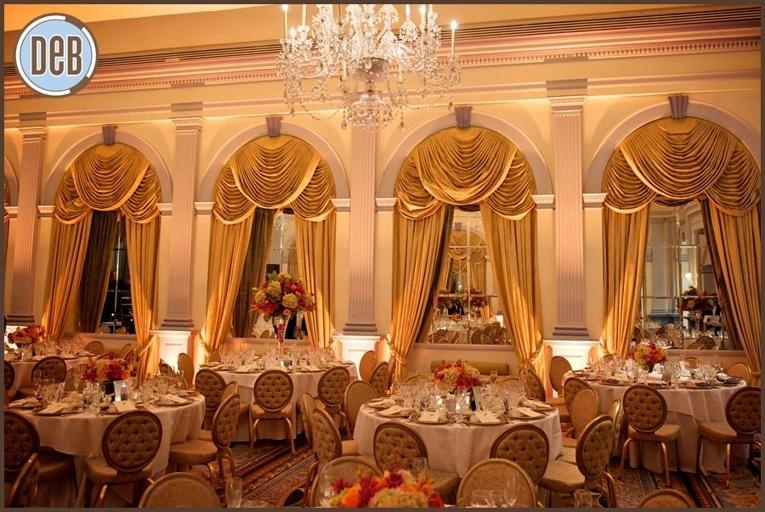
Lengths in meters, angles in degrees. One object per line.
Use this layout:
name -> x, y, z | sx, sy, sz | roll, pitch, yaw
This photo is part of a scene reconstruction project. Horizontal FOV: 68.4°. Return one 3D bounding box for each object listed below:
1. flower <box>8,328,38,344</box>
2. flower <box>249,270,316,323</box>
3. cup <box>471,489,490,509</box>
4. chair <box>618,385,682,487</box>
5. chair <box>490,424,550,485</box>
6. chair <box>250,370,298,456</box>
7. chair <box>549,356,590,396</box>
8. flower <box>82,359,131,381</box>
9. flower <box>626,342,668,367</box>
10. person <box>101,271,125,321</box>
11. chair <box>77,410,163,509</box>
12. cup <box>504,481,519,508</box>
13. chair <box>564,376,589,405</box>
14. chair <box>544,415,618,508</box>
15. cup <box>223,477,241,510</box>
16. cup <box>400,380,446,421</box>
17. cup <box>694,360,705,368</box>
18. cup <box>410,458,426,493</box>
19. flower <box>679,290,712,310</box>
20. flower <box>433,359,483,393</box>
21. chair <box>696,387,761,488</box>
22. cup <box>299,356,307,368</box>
flower -> -7.152, 1.609, 11.196 | 0.357, 0.210, 0.372 | 6, -7, -7
flower -> -1.807, 0.777, 10.342 | 0.859, 0.813, 0.895 | 0, -2, -6
cup -> 0.871, 2.115, 4.960 | 0.130, 0.138, 0.135 | -2, -12, 0
chair -> 3.867, 2.523, 8.187 | 0.744, 1.328, 0.830 | 0, -4, 32
chair -> 1.627, 2.276, 6.808 | 0.592, 0.882, 0.669 | 5, -1, -6
chair -> -1.774, 2.447, 9.048 | 0.746, 1.259, 0.573 | 3, -3, -14
chair -> 3.433, 2.134, 10.119 | 0.526, 0.992, 0.604 | -1, -9, -1
flower -> -3.739, 1.555, 7.629 | 0.358, 0.245, 0.369 | 5, -13, -22
flower -> 4.299, 1.617, 9.158 | 0.512, 0.372, 0.357 | 3, -4, -11
person -> -6.481, 1.025, 13.614 | 0.519, 1.194, 0.250 | 1, -3, 18
chair -> -3.210, 2.466, 6.895 | 0.893, 1.213, 0.490 | 4, -3, -24
cup -> 1.185, 2.196, 5.246 | 0.116, 0.269, 0.263 | 2, -4, 13
chair -> 2.880, 2.039, 8.620 | 0.351, 0.447, 0.317 | 1, 4, -39
chair -> 2.379, 2.452, 6.827 | 0.918, 1.135, 0.608 | 2, -3, 11
cup -> -1.345, 2.104, 5.047 | 0.125, 0.230, 0.227 | 3, -4, -18
cup -> 0.530, 1.851, 7.169 | 0.372, 0.342, 0.477 | 1, -10, -6
cup -> 5.281, 1.809, 9.395 | 0.124, 0.133, 0.126 | -3, 10, 1
cup -> 0.344, 1.905, 4.947 | 0.167, 0.277, 0.159 | -3, -10, 0
flower -> 5.957, 0.895, 10.737 | 0.405, 0.382, 0.389 | 1, -3, -10
flower -> 0.959, 1.576, 7.371 | 0.447, 0.411, 0.420 | -4, -7, 6
chair -> 5.027, 2.516, 8.053 | 0.640, 1.352, 0.744 | 3, -3, -23
cup -> -1.439, 1.924, 10.163 | 0.119, 0.134, 0.223 | 6, -1, -1
